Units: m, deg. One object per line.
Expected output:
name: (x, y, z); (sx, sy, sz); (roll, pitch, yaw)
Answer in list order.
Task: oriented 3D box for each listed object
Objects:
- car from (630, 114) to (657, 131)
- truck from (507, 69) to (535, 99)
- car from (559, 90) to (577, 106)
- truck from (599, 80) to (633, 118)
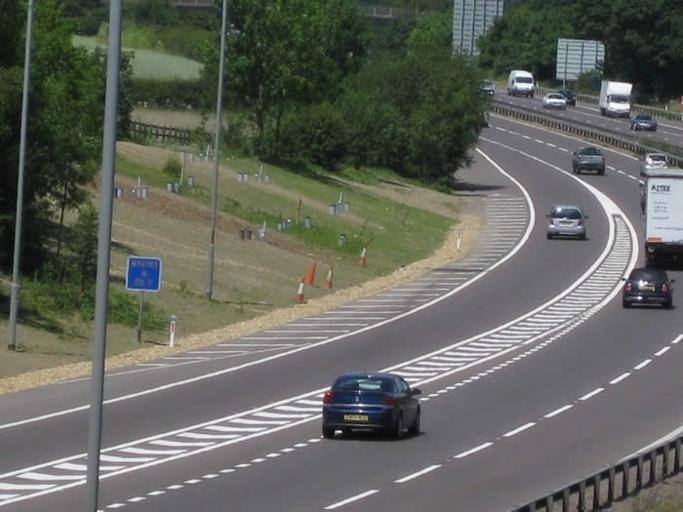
car: (25.745, -10.870, 144.608); (2.088, 1.261, 2.098); (4, 15, 11)
truck: (18.619, -17.355, 175.939); (1.703, 2.276, 3.549); (0, 1, -3)
car: (22.541, -15.214, 168.311); (1.083, 0.993, 2.639); (1, 3, 3)
truck: (25.358, -13.951, 156.562); (1.790, 2.544, 4.163); (2, 3, 2)
